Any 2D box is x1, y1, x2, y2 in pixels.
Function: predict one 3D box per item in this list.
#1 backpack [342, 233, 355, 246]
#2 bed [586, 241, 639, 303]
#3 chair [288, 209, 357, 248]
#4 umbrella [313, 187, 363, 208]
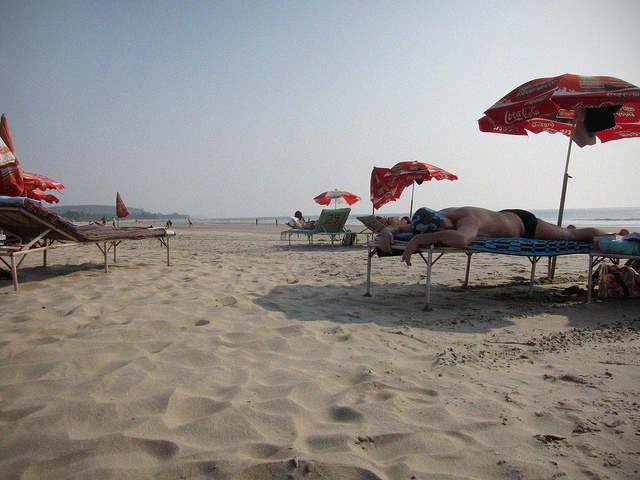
[{"bbox_3d":[0.785,-0.006,13.370,0.280,0.337,0.112,9,5,-5],"label":"backpack"},{"bbox_3d":[3.282,0.243,5.475,0.764,0.715,0.618,1,5,40],"label":"bed"},{"bbox_3d":[0.035,-0.361,13.330,1.806,0.935,1.073,3,4,42],"label":"chair"},{"bbox_3d":[0.552,-1.330,16.059,1.156,0.693,1.477,-6,15,-30],"label":"umbrella"}]
